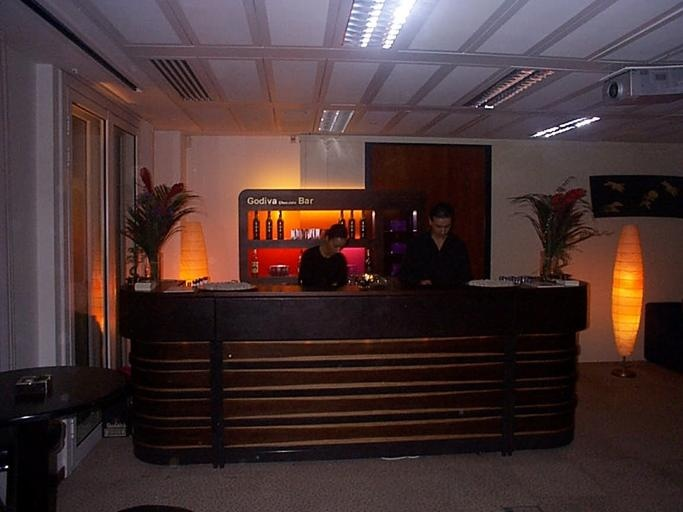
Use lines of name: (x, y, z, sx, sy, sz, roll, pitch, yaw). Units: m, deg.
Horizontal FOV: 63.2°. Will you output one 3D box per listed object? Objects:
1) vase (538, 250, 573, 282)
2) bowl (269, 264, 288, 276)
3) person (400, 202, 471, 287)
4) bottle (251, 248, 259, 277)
vase: (2.183, 0.101, 5.623, 0.297, 0.333, 0.299, 2, 1, 7)
bowl: (-0.814, 0.193, 7.238, 0.255, 0.134, 0.252, 0, 12, 0)
person: (1.006, -0.114, 6.150, 0.902, 1.010, 0.575, 0, 9, 2)
bottle: (-1.132, 0.086, 7.218, 0.116, 0.315, 0.256, -1, 12, -9)
